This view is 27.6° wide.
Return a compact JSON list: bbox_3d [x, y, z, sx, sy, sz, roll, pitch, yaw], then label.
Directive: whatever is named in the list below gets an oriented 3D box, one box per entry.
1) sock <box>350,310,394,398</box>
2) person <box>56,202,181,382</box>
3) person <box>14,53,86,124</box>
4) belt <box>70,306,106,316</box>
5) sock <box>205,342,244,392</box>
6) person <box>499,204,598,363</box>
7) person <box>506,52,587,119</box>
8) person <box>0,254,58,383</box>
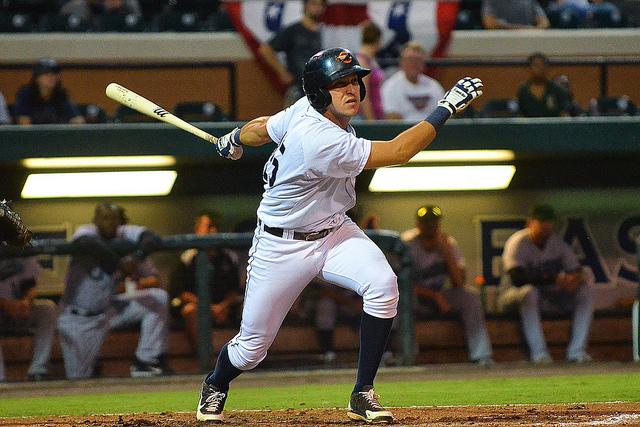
[{"bbox_3d":[0.423,1.133,10.369,0.260,0.815,0.203,4,13,5],"label":"sock"},{"bbox_3d":[-1.888,0.754,12.172,1.207,1.614,0.953,-9,-10,17],"label":"person"},{"bbox_3d":[-2.647,-1.214,13.071,0.625,0.836,0.874,1,8,-16],"label":"person"},{"bbox_3d":[-2.135,0.906,12.044,0.304,0.075,0.027,-2,8,-5],"label":"belt"},{"bbox_3d":[-0.788,1.244,10.626,0.394,0.412,0.220,3,-2,-1],"label":"sock"},{"bbox_3d":[2.170,0.670,12.463,0.876,1.407,0.534,0,8,17],"label":"person"},{"bbox_3d":[2.225,-1.221,12.727,0.573,0.847,0.266,-8,-40,3],"label":"person"},{"bbox_3d":[-2.664,0.943,12.020,0.471,1.090,0.257,-4,8,-12],"label":"person"}]
